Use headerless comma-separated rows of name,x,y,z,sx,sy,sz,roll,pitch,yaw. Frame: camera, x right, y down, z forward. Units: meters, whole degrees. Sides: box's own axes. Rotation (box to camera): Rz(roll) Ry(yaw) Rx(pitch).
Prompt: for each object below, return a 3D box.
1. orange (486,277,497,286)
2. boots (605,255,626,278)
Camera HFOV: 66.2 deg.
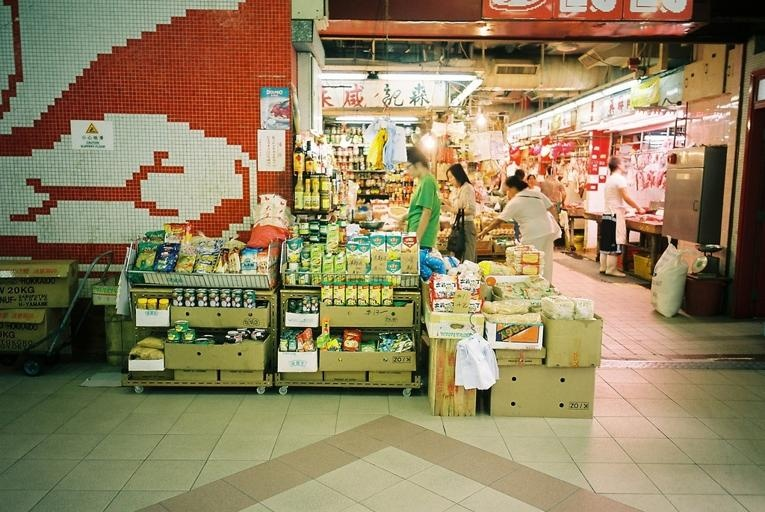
orange,1.184,0.281,6.399,0.097,0.090,0.114,-2,-2,29
boots,4.456,0.199,11.374,0.514,0.454,0.279,-9,12,-27
